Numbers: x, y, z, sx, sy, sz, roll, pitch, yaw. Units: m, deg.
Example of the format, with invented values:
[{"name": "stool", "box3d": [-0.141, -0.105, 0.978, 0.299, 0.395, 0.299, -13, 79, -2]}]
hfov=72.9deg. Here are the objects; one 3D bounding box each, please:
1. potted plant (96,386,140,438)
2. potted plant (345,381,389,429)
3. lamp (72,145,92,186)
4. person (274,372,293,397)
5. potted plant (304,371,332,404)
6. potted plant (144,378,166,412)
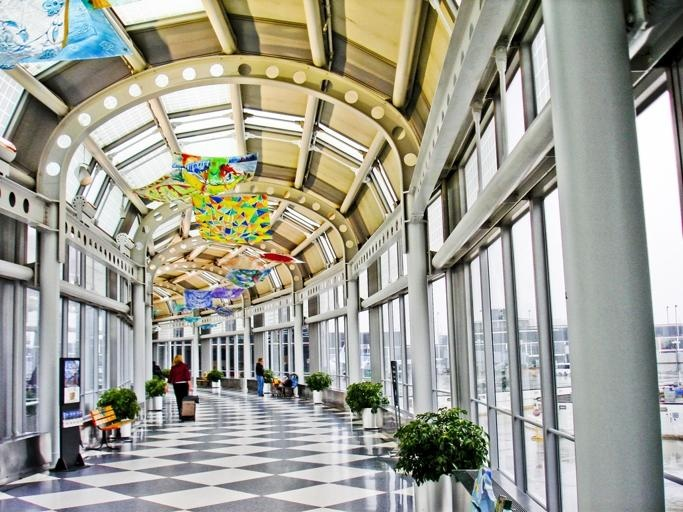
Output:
[{"name": "potted plant", "box3d": [-5.154, 3.500, 10.882, 0.735, 0.696, 0.708, -21, -11, 16]}, {"name": "potted plant", "box3d": [0.678, 3.845, 11.995, 0.992, 1.160, 0.734, -4, -12, 13]}, {"name": "lamp", "box3d": [-6.088, -2.219, 11.000, 0.303, 1.244, 0.284, 10, -39, -43]}, {"name": "person", "box3d": [-2.597, 6.462, 23.043, 0.741, 0.829, 1.484, 13, -25, -27]}, {"name": "potted plant", "box3d": [-0.937, 5.374, 18.894, 0.880, 1.246, 1.602, 0, -12, -6]}, {"name": "potted plant", "box3d": [-7.354, 5.429, 18.300, 0.721, 1.243, 1.910, 4, -13, -21]}]
